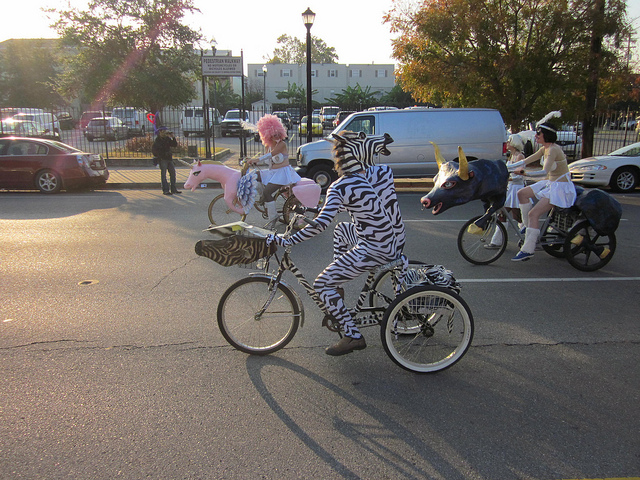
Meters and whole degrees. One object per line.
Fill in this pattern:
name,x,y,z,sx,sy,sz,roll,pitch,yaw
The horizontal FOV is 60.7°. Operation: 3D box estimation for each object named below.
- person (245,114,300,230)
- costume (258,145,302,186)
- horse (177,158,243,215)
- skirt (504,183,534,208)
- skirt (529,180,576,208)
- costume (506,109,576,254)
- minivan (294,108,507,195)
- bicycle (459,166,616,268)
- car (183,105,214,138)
person,-0.885,-1.293,10.298,1.076,2.007,0.936,6,8,22
costume,-0.789,-1.285,10.124,0.643,0.826,0.569,-10,21,-38
horse,-1.844,-0.738,10.143,1.043,1.358,1.083,15,19,40
skirt,3.352,-0.701,9.276,0.429,0.464,0.345,-4,3,-19
skirt,3.530,-0.723,8.271,0.423,0.276,0.475,-12,23,-42
costume,3.370,-0.964,8.509,0.859,2.380,0.926,2,14,-6
minivan,2.502,-2.411,16.708,6.074,2.624,2.568,0,-5,1
bicycle,3.345,-0.314,8.697,2.267,1.592,1.248,-1,7,0
car,-8.620,-8.570,39.446,2.029,2.178,3.594,2,15,5
